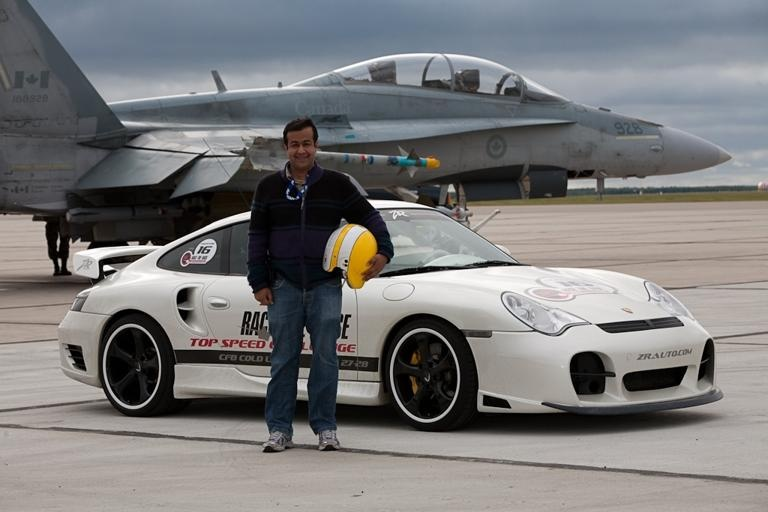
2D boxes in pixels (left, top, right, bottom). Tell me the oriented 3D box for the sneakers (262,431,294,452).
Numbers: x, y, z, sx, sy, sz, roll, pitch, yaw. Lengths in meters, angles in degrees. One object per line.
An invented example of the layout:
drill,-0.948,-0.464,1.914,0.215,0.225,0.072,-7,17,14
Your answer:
sneakers,-0.766,1.472,5.649,0.110,0.157,0.240,-1,3,25

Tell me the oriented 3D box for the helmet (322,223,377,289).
helmet,-0.239,-0.003,5.556,0.390,0.491,0.212,-2,3,-4

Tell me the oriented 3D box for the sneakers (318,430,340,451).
sneakers,-0.395,1.460,5.663,0.168,0.164,0.174,-3,3,-9
